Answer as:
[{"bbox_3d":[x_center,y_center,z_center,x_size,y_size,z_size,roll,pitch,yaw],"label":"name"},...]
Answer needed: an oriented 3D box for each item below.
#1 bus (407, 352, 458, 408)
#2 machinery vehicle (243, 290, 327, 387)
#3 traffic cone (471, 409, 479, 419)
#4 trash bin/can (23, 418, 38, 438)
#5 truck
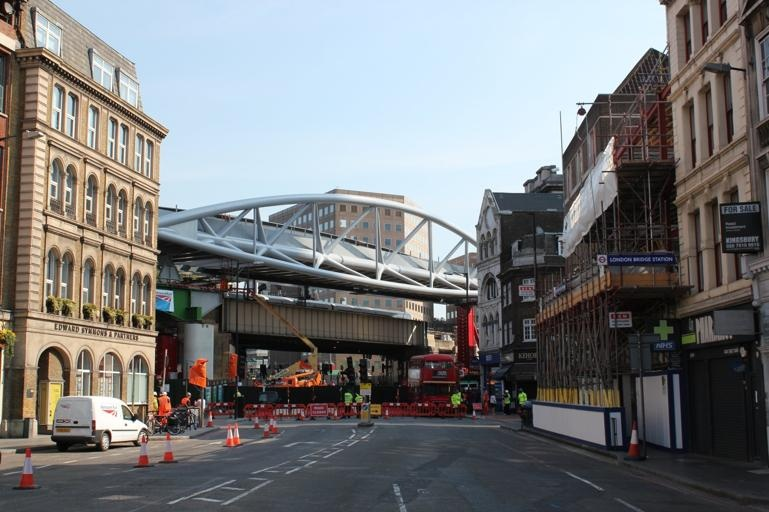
[{"bbox_3d":[3.822,9.898,86.552,2.468,4.100,8.129,1,-6,-3],"label":"bus"},{"bbox_3d":[-8.986,8.623,101.408,5.705,8.818,9.605,-4,-14,-3],"label":"machinery vehicle"},{"bbox_3d":[6.775,11.717,79.631,0.606,0.884,0.646,-1,-9,1],"label":"traffic cone"},{"bbox_3d":[-18.270,8.918,55.762,0.314,1.027,0.625,-12,-16,29],"label":"trash bin/can"},{"bbox_3d":[-13.159,7.698,50.926,2.964,2.309,5.371,-3,-5,21],"label":"truck"}]
